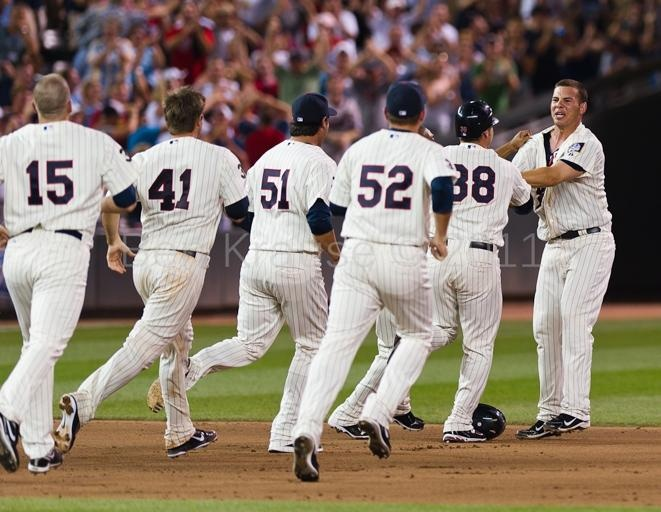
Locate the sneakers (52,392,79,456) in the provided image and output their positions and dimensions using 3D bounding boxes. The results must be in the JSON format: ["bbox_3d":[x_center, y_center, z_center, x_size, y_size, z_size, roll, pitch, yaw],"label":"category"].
[{"bbox_3d":[-1.968,1.269,9.427,0.159,0.463,0.221,2,-11,12],"label":"sneakers"}]

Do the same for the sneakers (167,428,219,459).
[{"bbox_3d":[-1.081,1.470,9.934,0.460,0.200,0.149,-24,21,-38],"label":"sneakers"}]

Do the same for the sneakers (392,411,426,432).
[{"bbox_3d":[0.671,1.425,10.711,0.296,0.162,0.130,14,14,-5],"label":"sneakers"}]

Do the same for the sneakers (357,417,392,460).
[{"bbox_3d":[0.325,1.337,9.272,0.138,0.388,0.184,-5,16,42],"label":"sneakers"}]

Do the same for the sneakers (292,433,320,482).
[{"bbox_3d":[-0.174,1.489,9.112,0.141,0.380,0.160,-4,-9,4],"label":"sneakers"}]

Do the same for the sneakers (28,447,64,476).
[{"bbox_3d":[-2.129,1.547,9.426,0.116,0.184,0.329,6,8,22],"label":"sneakers"}]

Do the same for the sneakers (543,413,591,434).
[{"bbox_3d":[1.951,1.388,10.301,0.369,0.191,0.158,0,-4,5],"label":"sneakers"}]

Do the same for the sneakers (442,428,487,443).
[{"bbox_3d":[1.093,1.484,10.195,0.347,0.175,0.128,-1,3,-13],"label":"sneakers"}]

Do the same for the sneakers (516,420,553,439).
[{"bbox_3d":[1.697,1.455,10.444,0.342,0.177,0.129,1,-4,-1],"label":"sneakers"}]

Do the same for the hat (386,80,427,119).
[{"bbox_3d":[0.568,-1.185,9.471,0.219,0.323,0.192,5,-35,8],"label":"hat"}]
